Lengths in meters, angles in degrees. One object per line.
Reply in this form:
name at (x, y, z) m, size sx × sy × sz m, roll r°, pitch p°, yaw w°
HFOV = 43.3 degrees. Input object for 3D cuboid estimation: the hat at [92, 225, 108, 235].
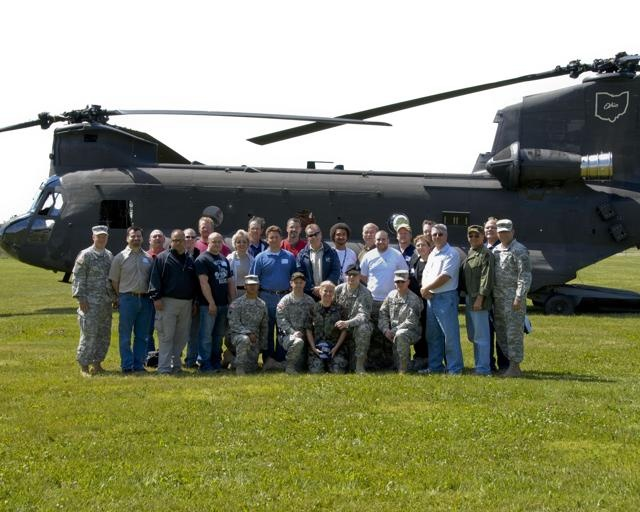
hat at (-3.469, -0.396, 12.728) m, size 0.364 × 0.137 × 0.474 m, roll 0°, pitch -1°, yaw -17°

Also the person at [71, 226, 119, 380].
person at (-3.498, 0.725, 12.500) m, size 0.629 × 2.313 × 0.856 m, roll -3°, pitch 11°, yaw -16°

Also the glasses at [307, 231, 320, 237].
glasses at (-0.105, -0.343, 12.972) m, size 0.182 × 0.089 × 0.077 m, roll -1°, pitch 11°, yaw -9°

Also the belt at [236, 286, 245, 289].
belt at (-1.305, 0.527, 13.323) m, size 0.083 × 0.069 × 0.019 m, roll -1°, pitch 16°, yaw -3°

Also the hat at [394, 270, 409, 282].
hat at (1.261, 0.315, 12.462) m, size 0.225 × 0.190 × 0.317 m, roll 1°, pitch 10°, yaw 5°

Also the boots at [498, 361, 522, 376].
boots at (2.892, 1.711, 12.217) m, size 0.336 × 0.233 × 0.528 m, roll 3°, pitch 10°, yaw 12°

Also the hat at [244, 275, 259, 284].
hat at (-1.046, 0.378, 12.578) m, size 0.199 × 0.145 × 0.187 m, roll -3°, pitch 11°, yaw -18°

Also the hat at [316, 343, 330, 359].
hat at (0.065, 1.473, 12.506) m, size 0.174 × 0.222 × 0.081 m, roll 2°, pitch -21°, yaw -5°

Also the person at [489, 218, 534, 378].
person at (2.905, 0.528, 12.242) m, size 0.459 × 2.045 × 0.743 m, roll -4°, pitch 12°, yaw -21°

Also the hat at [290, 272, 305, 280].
hat at (-0.347, 0.321, 12.701) m, size 0.208 × 0.143 × 0.331 m, roll 0°, pitch 10°, yaw -2°

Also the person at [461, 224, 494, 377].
person at (2.441, 0.664, 12.325) m, size 0.389 × 2.168 × 0.780 m, roll 0°, pitch 11°, yaw -4°
